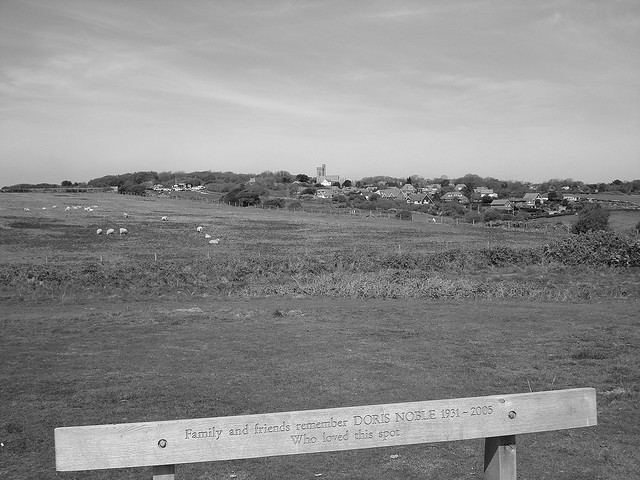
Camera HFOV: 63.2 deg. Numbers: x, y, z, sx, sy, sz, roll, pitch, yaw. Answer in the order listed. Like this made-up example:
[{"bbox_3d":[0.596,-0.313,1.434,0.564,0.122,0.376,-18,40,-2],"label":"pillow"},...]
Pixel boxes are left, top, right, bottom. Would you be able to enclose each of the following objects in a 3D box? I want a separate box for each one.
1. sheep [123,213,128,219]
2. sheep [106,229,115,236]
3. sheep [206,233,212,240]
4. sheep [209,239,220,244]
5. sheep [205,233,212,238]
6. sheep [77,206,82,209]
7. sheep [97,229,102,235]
[{"bbox_3d":[-31.818,-3.784,85.174,0.600,1.126,2.087,4,19,-21],"label":"sheep"},{"bbox_3d":[-23.998,-0.847,59.702,0.803,0.762,0.819,-16,9,-12],"label":"sheep"},{"bbox_3d":[-12.767,-0.212,60.000,0.442,0.860,1.483,0,7,-19],"label":"sheep"},{"bbox_3d":[-11.252,0.232,55.626,0.947,0.505,0.378,-3,5,-21],"label":"sheep"},{"bbox_3d":[-12.928,-0.313,60.336,0.332,0.652,1.131,-1,6,-20],"label":"sheep"},{"bbox_3d":[-45.805,-6.099,99.094,0.780,0.330,0.879,10,0,-15],"label":"sheep"},{"bbox_3d":[-25.404,-0.904,59.989,0.493,0.506,0.507,-1,-5,14],"label":"sheep"}]
